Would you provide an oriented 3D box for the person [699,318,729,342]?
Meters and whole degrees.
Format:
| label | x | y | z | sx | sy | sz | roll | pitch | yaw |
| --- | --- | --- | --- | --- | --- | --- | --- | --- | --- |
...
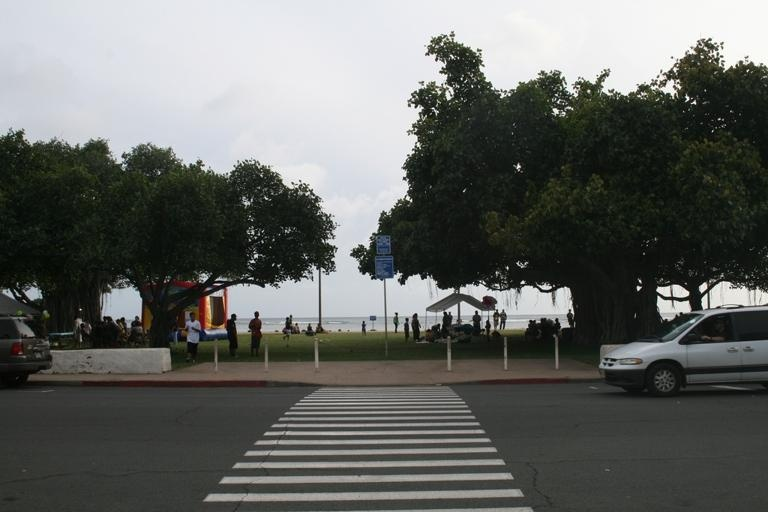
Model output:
| label | x | y | z | sx | sy | sz | roll | pitch | yaw |
| --- | --- | --- | --- | --- | --- | --- | --- | --- | --- |
| person | 9.487 | 2.193 | 23.263 | 0.808 | 0.916 | 0.610 | 3 | -10 | 4 |
